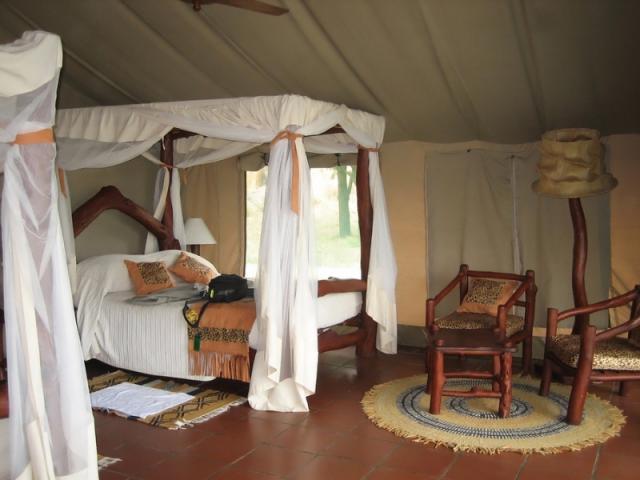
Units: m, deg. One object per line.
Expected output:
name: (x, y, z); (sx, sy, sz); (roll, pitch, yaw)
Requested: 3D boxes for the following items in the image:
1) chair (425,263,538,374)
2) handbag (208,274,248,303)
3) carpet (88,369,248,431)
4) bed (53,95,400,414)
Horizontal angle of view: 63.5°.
chair: (1.541, 0.835, 5.029); (1.006, 0.945, 1.276); (2, 5, 28)
handbag: (-0.826, 0.459, 4.831); (0.208, 0.136, 0.321); (2, 2, 18)
carpet: (-1.410, 1.382, 4.537); (1.472, 0.037, 0.836); (3, 7, 28)
bed: (-0.561, 0.047, 5.722); (2.960, 2.634, 2.967); (-2, -2, 25)
